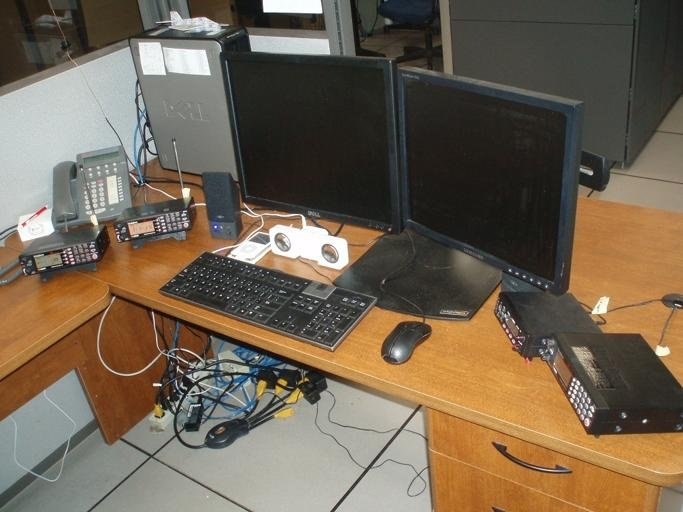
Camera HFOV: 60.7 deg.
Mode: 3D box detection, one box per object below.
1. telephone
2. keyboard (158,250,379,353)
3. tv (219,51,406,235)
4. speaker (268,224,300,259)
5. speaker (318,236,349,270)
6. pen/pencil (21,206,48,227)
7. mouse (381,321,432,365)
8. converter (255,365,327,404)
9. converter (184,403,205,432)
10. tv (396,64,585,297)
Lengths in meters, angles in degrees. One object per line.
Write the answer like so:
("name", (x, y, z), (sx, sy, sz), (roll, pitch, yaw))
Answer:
("telephone", (-0.877, -0.249, 2.061), (0.265, 0.129, 0.293), (-11, 65, -6))
("keyboard", (-0.216, 0.110, 1.634), (0.608, 0.058, 0.184), (15, 36, 22))
("tv", (-0.089, -0.344, 1.703), (0.591, 0.483, 0.053), (15, 35, 23))
("speaker", (-0.173, -0.039, 1.778), (0.078, 0.078, 0.041), (14, 31, 37))
("speaker", (-0.023, -0.008, 1.708), (0.078, 0.080, 0.029), (12, 29, 29))
("pen/pencil", (-1.063, -0.134, 2.021), (0.085, 0.021, 0.020), (-44, 73, -9))
("mouse", (0.157, 0.214, 1.457), (0.074, 0.039, 0.132), (17, 44, 36))
("converter", (-0.214, 0.513, 2.386), (0.239, 0.105, 0.135), (-15, 40, -16))
("converter", (-0.580, 0.640, 2.313), (0.072, 0.033, 0.137), (-3, 41, 4))
("tv", (0.357, -0.205, 1.478), (0.543, 0.451, 0.058), (27, 41, 37))
